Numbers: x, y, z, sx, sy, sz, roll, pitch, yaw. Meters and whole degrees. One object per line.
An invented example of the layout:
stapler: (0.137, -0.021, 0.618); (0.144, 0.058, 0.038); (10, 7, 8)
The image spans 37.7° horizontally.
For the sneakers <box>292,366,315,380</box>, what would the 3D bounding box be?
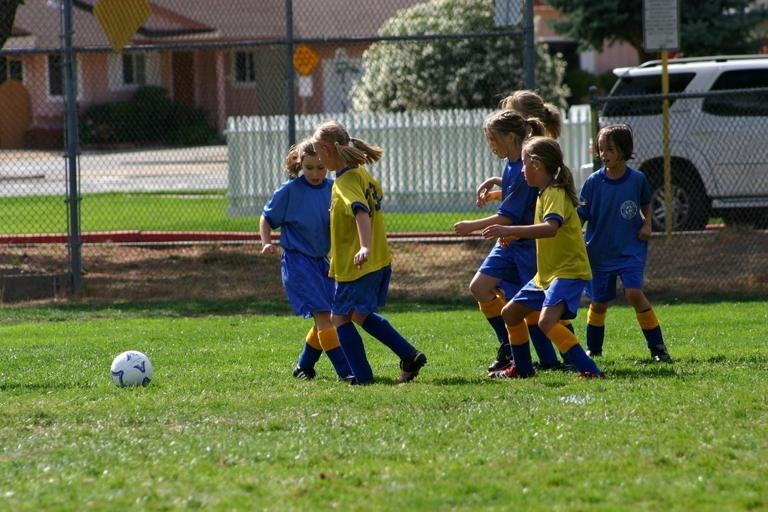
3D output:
sneakers: (-0.740, 1.050, 10.235); (0.085, 0.110, 0.230); (3, -9, -38)

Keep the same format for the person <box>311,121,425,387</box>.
person: (-0.192, -0.020, 9.862); (0.938, 2.242, 0.706); (1, 12, 8)

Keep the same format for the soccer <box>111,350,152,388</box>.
soccer: (-2.236, 1.003, 9.969); (0.299, 0.317, 0.312); (-6, -5, -4)

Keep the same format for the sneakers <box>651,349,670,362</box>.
sneakers: (2.555, 0.906, 10.370); (0.074, 0.082, 0.196); (0, -7, -1)

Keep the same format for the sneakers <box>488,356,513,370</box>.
sneakers: (1.060, 0.963, 10.212); (0.269, 0.182, 0.094); (-2, -3, 3)

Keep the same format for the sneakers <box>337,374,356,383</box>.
sneakers: (-0.333, 1.086, 10.041); (0.158, 0.073, 0.059); (-1, 3, 41)

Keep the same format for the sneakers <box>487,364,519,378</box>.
sneakers: (1.070, 1.020, 10.067); (0.299, 0.139, 0.106); (3, 0, 5)

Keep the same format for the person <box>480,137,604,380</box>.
person: (1.417, 0.040, 9.790); (0.897, 2.095, 0.571); (0, 12, 5)

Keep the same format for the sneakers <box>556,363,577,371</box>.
sneakers: (1.646, 0.994, 10.177); (0.054, 0.071, 0.148); (-5, 1, -43)
